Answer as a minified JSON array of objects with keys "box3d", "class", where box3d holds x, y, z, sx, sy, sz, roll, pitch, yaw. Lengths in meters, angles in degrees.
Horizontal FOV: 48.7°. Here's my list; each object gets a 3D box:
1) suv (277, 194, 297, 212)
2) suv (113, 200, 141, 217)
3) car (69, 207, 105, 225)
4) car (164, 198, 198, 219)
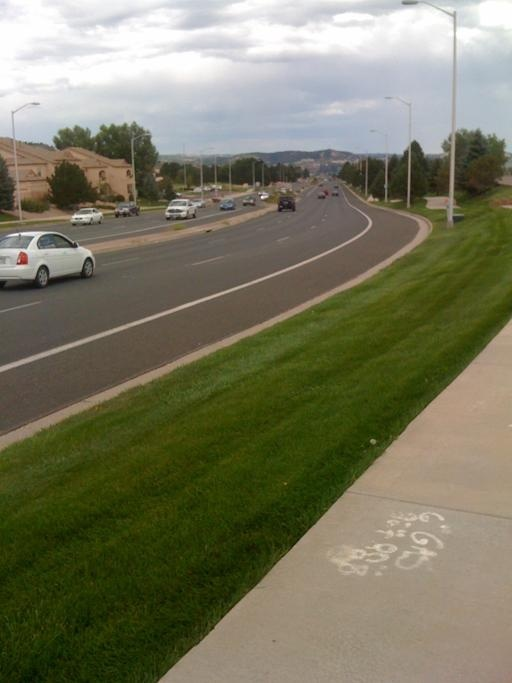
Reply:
[{"box3d":[3.835,-17.462,72.072,1.993,2.007,3.302,-2,10,12],"class":"suv"},{"box3d":[-15.870,-16.154,69.443,1.920,1.869,4.097,-3,10,5],"class":"suv"},{"box3d":[-16.329,-12.192,55.792,1.539,1.433,3.864,0,15,6],"class":"car"},{"box3d":[-7.847,-13.951,59.358,1.634,1.608,3.802,-1,16,1],"class":"car"}]
